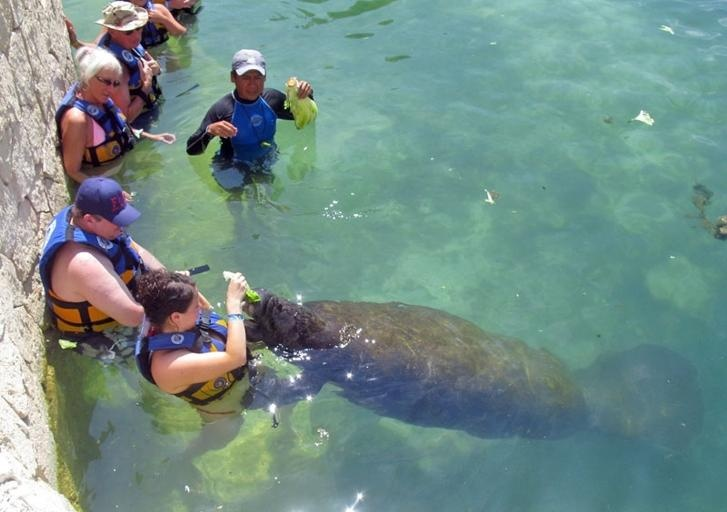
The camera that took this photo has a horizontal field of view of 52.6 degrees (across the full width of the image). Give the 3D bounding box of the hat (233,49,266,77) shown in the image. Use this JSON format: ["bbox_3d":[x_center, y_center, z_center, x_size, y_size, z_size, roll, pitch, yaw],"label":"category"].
[{"bbox_3d":[-1.782,-2.968,11.386,0.483,0.299,0.434,-11,51,-10],"label":"hat"}]

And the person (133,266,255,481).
[{"bbox_3d":[-2.092,1.559,8.943,1.004,2.217,1.010,-12,63,-7],"label":"person"}]

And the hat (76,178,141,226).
[{"bbox_3d":[-3.100,-0.683,8.957,0.756,0.414,0.509,22,39,-16],"label":"hat"}]

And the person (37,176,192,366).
[{"bbox_3d":[-3.193,0.286,9.271,1.296,2.223,1.085,-9,63,-22],"label":"person"}]
